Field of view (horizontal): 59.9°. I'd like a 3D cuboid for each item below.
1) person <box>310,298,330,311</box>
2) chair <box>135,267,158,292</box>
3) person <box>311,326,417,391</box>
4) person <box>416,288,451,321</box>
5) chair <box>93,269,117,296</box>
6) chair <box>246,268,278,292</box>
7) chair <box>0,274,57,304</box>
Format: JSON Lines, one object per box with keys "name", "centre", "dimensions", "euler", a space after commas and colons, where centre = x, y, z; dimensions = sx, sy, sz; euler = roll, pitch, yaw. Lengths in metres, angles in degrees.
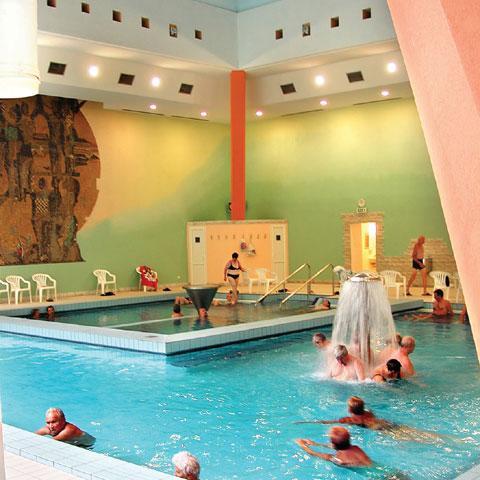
{"name": "person", "centre": [2.085, 1.669, 10.808], "dimensions": [0.407, 0.316, 0.896], "euler": [-11, -9, 35]}
{"name": "chair", "centre": [-3.342, 1.349, 14.787], "dimensions": [0.758, 1.084, 0.798], "euler": [-1, -1, -43]}
{"name": "person", "centre": [1.825, 1.569, 5.684], "dimensions": [0.882, 0.406, 0.679], "euler": [-3, 3, -12]}
{"name": "person", "centre": [4.518, 1.449, 9.569], "dimensions": [0.698, 0.642, 0.788], "euler": [0, 1, 27]}
{"name": "chair", "centre": [-4.471, 1.454, 14.185], "dimensions": [0.758, 1.128, 0.812], "euler": [0, 1, 44]}
{"name": "chair", "centre": [0.737, 1.324, 14.115], "dimensions": [0.752, 1.231, 0.841], "euler": [2, -7, -40]}
{"name": "chair", "centre": [-6.260, 1.443, 12.434], "dimensions": [1.558, 0.813, 1.491], "euler": [-1, 2, -32]}
